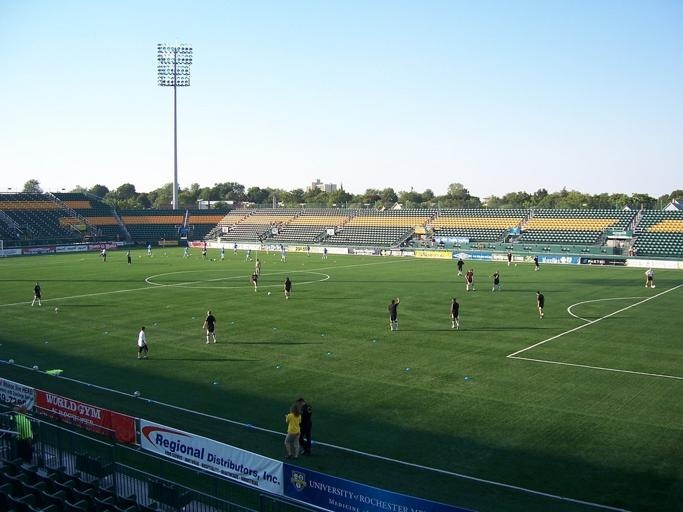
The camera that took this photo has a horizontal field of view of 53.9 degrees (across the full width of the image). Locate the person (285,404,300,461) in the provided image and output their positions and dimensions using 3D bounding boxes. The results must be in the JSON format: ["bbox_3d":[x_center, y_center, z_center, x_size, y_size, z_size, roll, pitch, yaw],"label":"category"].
[{"bbox_3d":[-1.623,5.822,22.636,0.543,1.800,0.652,-2,8,-4],"label":"person"}]
